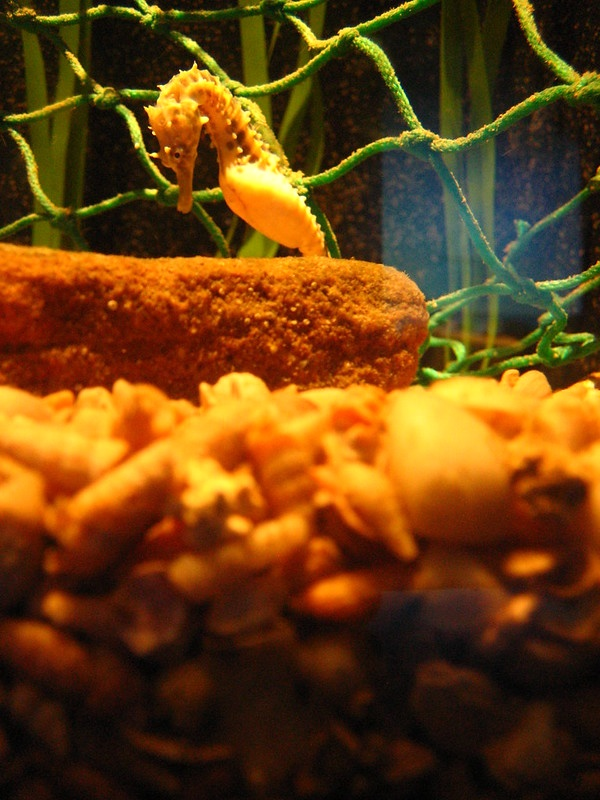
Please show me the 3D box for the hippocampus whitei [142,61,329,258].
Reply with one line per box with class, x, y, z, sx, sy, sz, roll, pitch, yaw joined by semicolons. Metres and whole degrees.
hippocampus whitei;-0.048;-0.222;0.832;0.080;0.108;0.277;22;16;34
